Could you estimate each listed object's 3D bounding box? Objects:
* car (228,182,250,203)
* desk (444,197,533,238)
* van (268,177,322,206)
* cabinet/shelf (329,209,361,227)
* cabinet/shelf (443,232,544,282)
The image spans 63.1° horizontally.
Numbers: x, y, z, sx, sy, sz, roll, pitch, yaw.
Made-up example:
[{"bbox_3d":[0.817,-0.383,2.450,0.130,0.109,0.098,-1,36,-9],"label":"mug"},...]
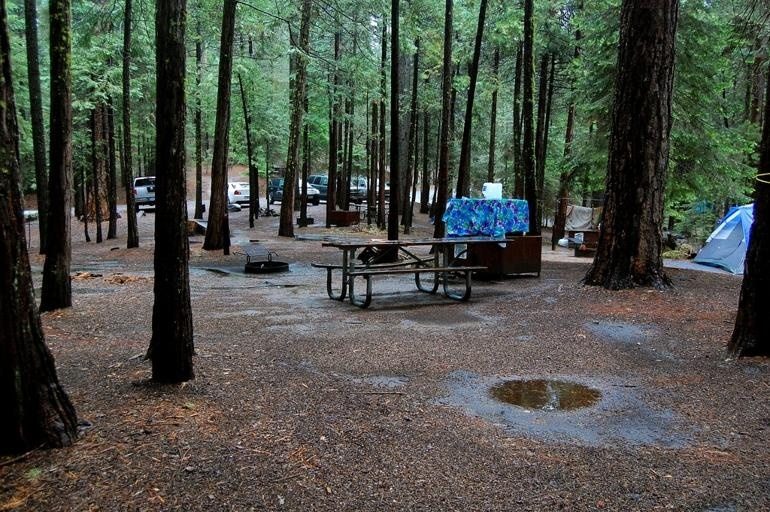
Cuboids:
[{"bbox_3d":[-9.882,-4.253,42.627,1.416,0.975,3.152,-3,13,-17],"label":"car"},{"bbox_3d":[2.626,-0.984,15.873,2.194,0.963,0.378,-3,9,-13],"label":"desk"},{"bbox_3d":[-6.729,-4.672,45.994,2.543,1.816,4.719,-3,4,-43],"label":"van"},{"bbox_3d":[-2.016,-1.966,32.875,1.125,0.622,1.056,-1,4,-19],"label":"cabinet/shelf"},{"bbox_3d":[3.027,0.010,15.512,3.609,1.400,1.373,1,-3,-1],"label":"cabinet/shelf"}]
